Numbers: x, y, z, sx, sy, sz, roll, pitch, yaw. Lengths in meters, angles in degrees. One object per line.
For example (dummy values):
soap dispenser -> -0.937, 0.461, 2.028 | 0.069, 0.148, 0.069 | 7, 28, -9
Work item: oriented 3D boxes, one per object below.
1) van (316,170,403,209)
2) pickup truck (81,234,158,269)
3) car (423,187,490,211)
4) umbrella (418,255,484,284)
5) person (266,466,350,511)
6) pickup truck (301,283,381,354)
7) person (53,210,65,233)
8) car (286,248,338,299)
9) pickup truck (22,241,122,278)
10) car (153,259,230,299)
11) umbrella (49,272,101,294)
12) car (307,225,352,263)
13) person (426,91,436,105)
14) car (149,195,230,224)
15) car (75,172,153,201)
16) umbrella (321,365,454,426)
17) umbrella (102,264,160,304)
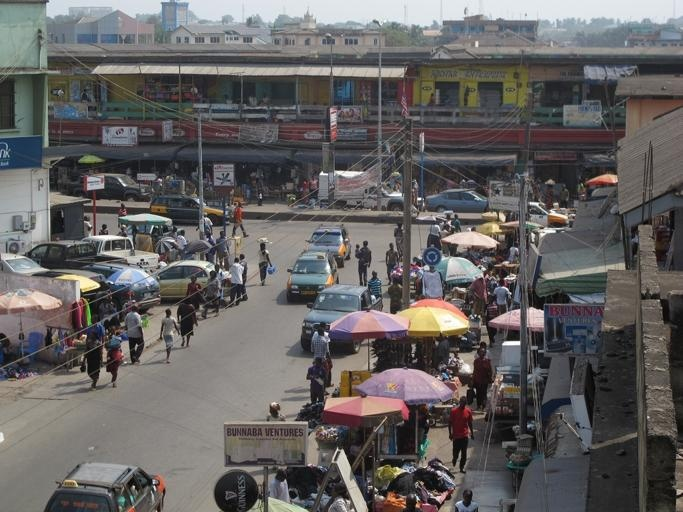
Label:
van -> 1.027, -3.349, 62.375 | 4.081, 2.254, 1.822 | 1, 5, 7
pickup truck -> -8.301, 0.111, 47.701 | 2.338, 1.094, 1.338 | 17, 17, 39
car -> 5.675, -2.563, 60.276 | 2.465, 0.918, 1.194 | -3, 11, 11
umbrella -> 4.081, 0.536, 43.349 | 1.538, 0.886, 1.078 | 1, 3, 4
person -> -0.716, 5.880, 31.786 | 1.246, 0.633, 1.613 | 0, 12, -37
pickup truck -> -0.029, 1.971, 40.988 | 1.393, 1.347, 2.848 | 1, 7, 13
person -> -12.018, -1.459, 53.353 | 0.417, 0.994, 0.209 | 0, 3, -14
car -> -1.059, 0.667, 45.547 | 1.069, 1.075, 2.238 | -1, 6, 6
pickup truck -> -10.035, -0.025, 46.343 | 2.789, 1.300, 1.516 | 8, 10, 34
car -> -5.339, 0.849, 44.776 | 2.442, 0.936, 1.176 | 2, 7, 5
umbrella -> -8.615, 0.912, 41.244 | 1.347, 0.569, 2.817 | 1, 3, -9
car -> -0.435, -0.443, 49.340 | 1.390, 1.221, 2.746 | 0, 1, 5
person -> 5.010, -8.551, 68.085 | 0.487, 0.814, 0.809 | 1, 3, 9
car -> -7.235, -1.762, 58.044 | 3.477, 1.678, 1.800 | 0, 9, 4
car -> -11.524, -3.387, 63.983 | 3.451, 1.503, 1.644 | 1, 8, 8
umbrella -> 1.181, 3.684, 32.985 | 3.442, 1.238, 1.714 | -1, 3, -40
umbrella -> -7.097, 1.047, 43.250 | 1.839, 1.183, 1.231 | 0, 3, -23
